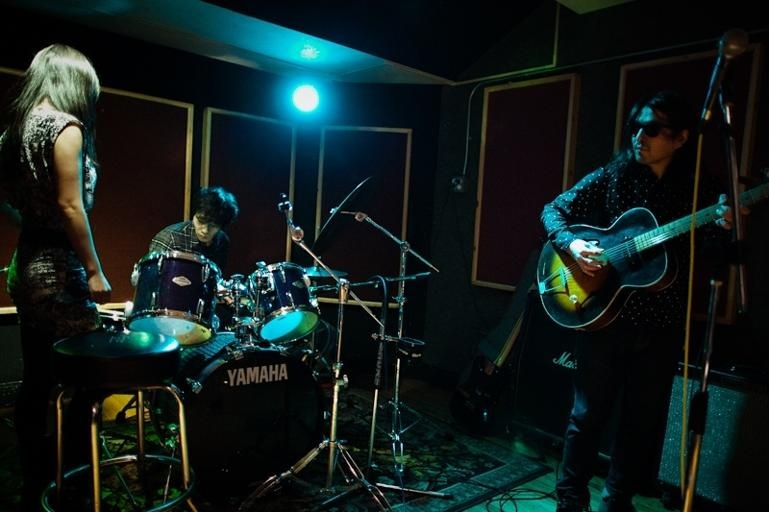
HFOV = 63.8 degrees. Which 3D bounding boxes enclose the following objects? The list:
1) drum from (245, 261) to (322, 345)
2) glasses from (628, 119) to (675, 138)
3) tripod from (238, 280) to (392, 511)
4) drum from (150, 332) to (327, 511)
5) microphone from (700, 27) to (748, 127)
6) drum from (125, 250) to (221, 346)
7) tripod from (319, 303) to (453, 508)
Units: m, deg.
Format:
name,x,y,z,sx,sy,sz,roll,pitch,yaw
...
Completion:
name,x,y,z,sx,sy,sz,roll,pitch,yaw
drum,-0.672,0.326,4.066,0.447,0.407,0.443,10,37,26
glasses,1.517,-0.715,3.502,0.240,0.073,0.101,6,3,25
tripod,-0.354,0.850,4.026,0.921,1.449,0.682,5,3,2
drum,-0.947,0.941,4.323,1.262,1.294,0.918,9,6,-35
microphone,1.628,-0.849,2.948,0.158,0.392,0.288,6,4,26
drum,-1.282,0.275,3.783,0.533,0.621,0.393,3,4,-21
tripod,0.022,1.160,4.731,0.958,1.378,0.907,12,17,35
